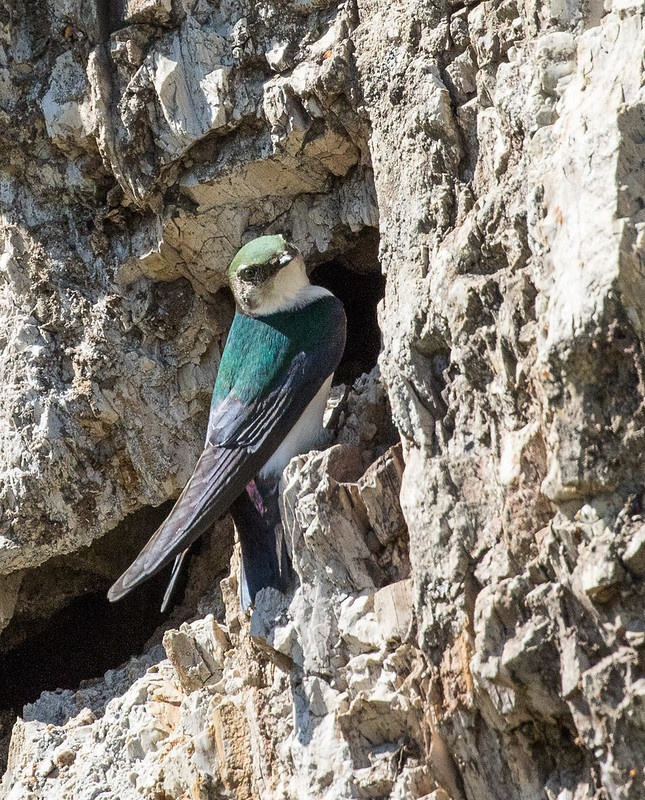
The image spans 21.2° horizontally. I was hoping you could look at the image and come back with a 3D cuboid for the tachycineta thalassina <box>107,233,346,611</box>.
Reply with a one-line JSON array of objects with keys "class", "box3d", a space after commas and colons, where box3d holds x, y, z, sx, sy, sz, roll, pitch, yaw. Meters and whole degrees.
[{"class": "tachycineta thalassina", "box3d": [-0.275, 0.096, 5.201, 0.385, 0.981, 1.191, -7, 11, 33]}]
